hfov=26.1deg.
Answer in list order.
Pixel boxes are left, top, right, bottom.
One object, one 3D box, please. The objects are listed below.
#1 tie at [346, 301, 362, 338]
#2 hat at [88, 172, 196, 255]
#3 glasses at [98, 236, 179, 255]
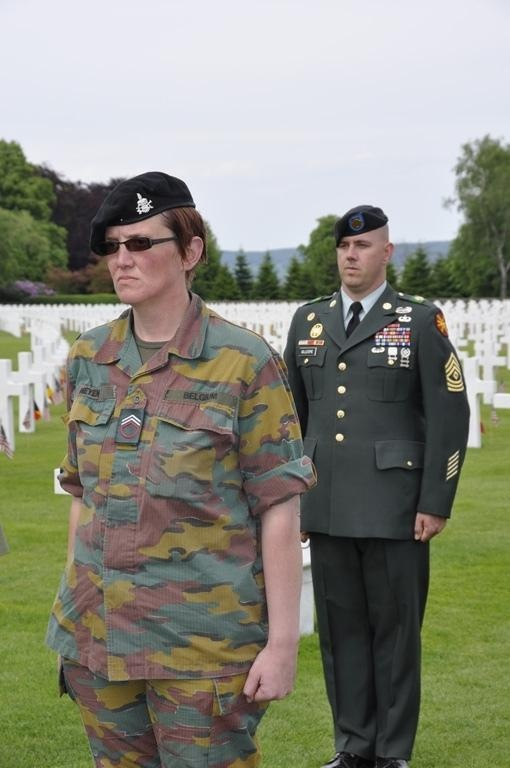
[{"bbox_3d":[0.352,-0.225,3.846,0.043,0.153,0.042,12,-36,19],"label":"tie"},{"bbox_3d":[-0.267,-0.421,2.542,0.249,0.108,0.157,-14,14,-17],"label":"hat"},{"bbox_3d":[-0.277,-0.313,2.494,0.080,0.020,0.079,-3,-1,27],"label":"glasses"}]
